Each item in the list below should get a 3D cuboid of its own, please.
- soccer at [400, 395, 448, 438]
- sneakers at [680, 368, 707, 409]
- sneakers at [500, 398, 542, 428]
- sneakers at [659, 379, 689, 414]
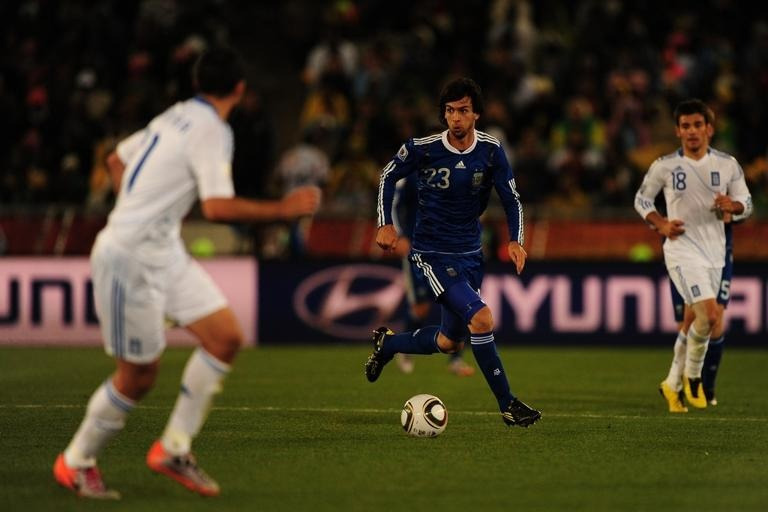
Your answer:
[{"bbox_3d":[0.400,1.509,11.436,0.399,0.378,0.377,-20,-10,-11],"label":"soccer"},{"bbox_3d":[3.200,1.340,12.405,0.168,0.416,0.187,-12,2,0],"label":"sneakers"},{"bbox_3d":[1.304,1.429,11.151,0.221,0.177,0.360,-20,8,-36],"label":"sneakers"},{"bbox_3d":[3.001,1.445,12.350,0.168,0.387,0.182,-2,-30,-43],"label":"sneakers"}]
